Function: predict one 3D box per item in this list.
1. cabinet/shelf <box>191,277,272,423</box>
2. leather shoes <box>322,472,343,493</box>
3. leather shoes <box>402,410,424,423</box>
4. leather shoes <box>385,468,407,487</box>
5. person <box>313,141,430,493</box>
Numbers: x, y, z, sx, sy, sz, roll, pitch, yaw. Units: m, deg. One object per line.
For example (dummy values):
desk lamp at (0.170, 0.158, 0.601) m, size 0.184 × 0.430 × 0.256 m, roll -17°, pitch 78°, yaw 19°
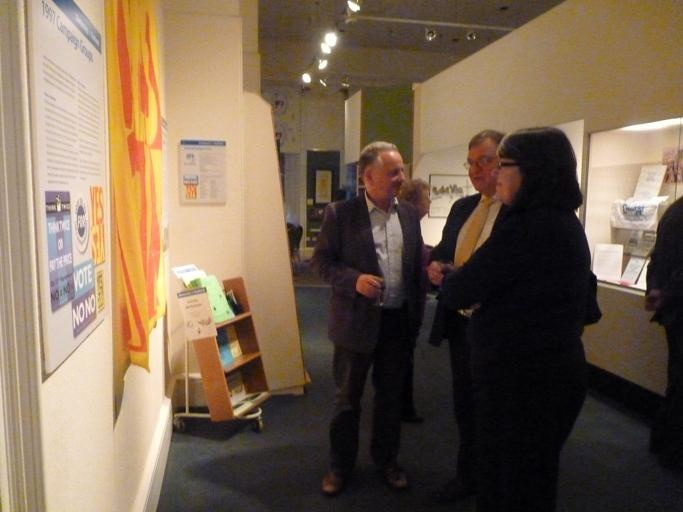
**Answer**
cabinet/shelf at (-0.819, 0.693, 3.631) m, size 0.282 × 1.156 × 0.651 m, roll -6°, pitch 18°, yaw 18°
leather shoes at (-0.067, 1.237, 2.744) m, size 0.121 × 0.092 × 0.090 m, roll -2°, pitch 8°, yaw 14°
leather shoes at (0.466, 1.076, 3.393) m, size 0.114 × 0.083 × 0.066 m, roll -1°, pitch 4°, yaw 3°
leather shoes at (0.289, 1.197, 2.746) m, size 0.065 × 0.054 × 0.126 m, roll -2°, pitch -5°, yaw -13°
person at (0.147, 0.328, 2.780) m, size 0.625 × 1.855 × 0.420 m, roll -3°, pitch 7°, yaw 4°
